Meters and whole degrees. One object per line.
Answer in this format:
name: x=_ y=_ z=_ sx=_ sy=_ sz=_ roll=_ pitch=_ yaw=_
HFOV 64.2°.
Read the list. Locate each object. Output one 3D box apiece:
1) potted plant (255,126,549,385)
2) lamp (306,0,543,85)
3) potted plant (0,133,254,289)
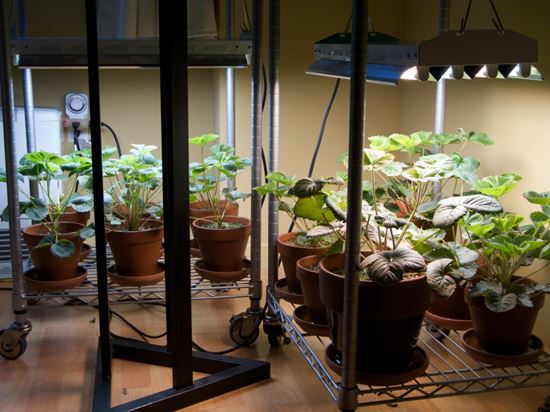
potted plant: x=0.397 y=0.186 z=1.775 sx=1.143 sy=0.725 sz=1.052 roll=-1 pitch=13 yaw=-4
lamp: x=0.482 y=-0.508 z=1.426 sx=0.480 sy=0.233 sz=0.615 roll=-5 pitch=12 yaw=-18
potted plant: x=-0.829 y=-0.069 z=2.191 sx=1.125 sy=0.439 sz=0.765 roll=-1 pitch=6 yaw=-6
